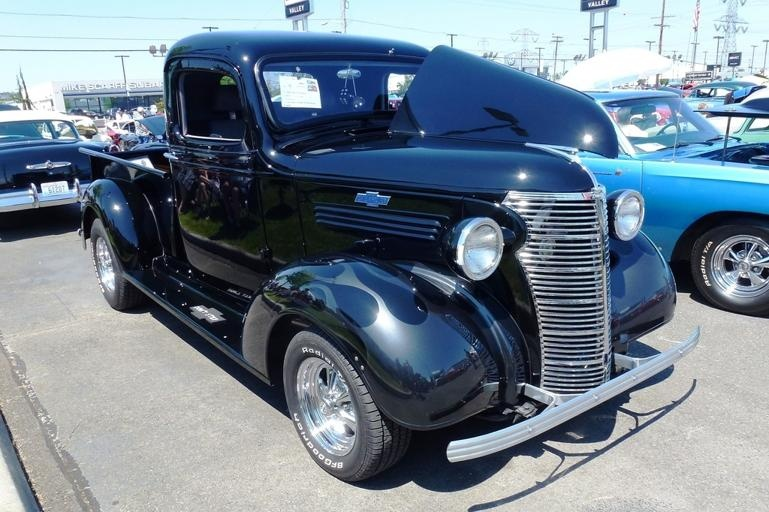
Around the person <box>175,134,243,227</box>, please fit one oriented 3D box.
[{"bbox_3d":[-1.528,-0.622,4.828,0.596,0.933,0.326,9,15,26],"label":"person"}]

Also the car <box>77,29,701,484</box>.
[{"bbox_3d":[-0.576,-0.514,4.985,2.715,2.406,5.460,-14,22,-42],"label":"car"}]
